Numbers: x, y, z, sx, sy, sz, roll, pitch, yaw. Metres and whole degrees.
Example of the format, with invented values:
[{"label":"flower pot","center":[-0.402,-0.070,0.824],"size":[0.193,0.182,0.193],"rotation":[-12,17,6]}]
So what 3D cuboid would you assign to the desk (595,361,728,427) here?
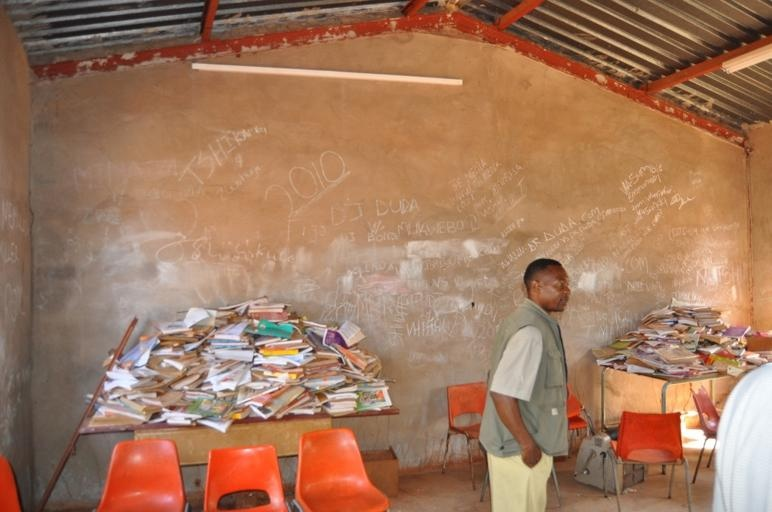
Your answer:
[{"label":"desk","center":[2.994,1.475,7.115],"size":[0.802,0.613,1.316],"rotation":[3,-8,-9]}]

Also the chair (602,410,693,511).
[{"label":"chair","center":[2.304,1.607,5.873],"size":[0.605,0.478,0.306],"rotation":[-1,-7,17]}]
